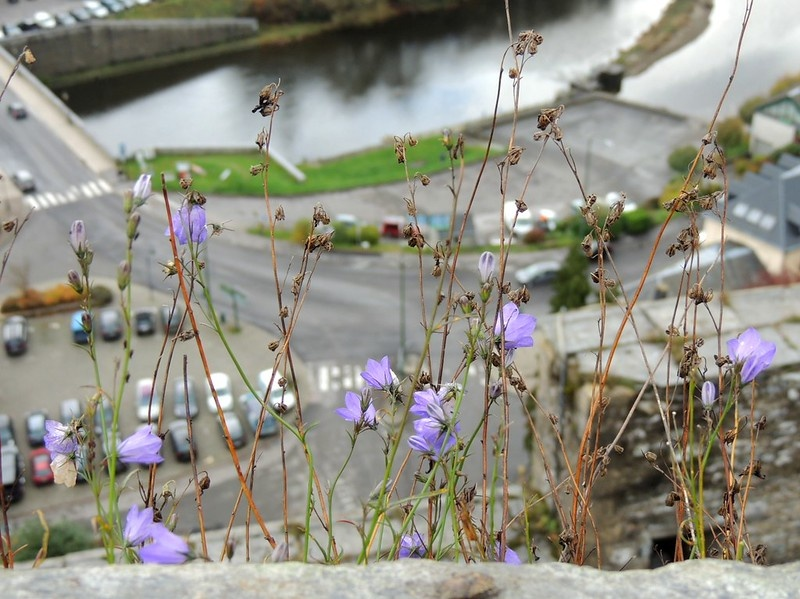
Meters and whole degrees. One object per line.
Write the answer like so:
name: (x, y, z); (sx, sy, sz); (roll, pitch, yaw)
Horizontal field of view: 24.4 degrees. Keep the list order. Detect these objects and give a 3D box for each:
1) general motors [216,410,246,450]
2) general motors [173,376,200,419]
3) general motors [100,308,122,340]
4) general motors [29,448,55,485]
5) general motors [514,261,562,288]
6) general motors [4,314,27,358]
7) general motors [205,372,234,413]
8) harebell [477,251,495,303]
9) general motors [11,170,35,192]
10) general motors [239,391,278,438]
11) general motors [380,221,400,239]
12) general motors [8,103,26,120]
general motors: (-4.701, 3.726, 53.365); (0.538, 1.183, 1.837); (-5, -6, -5)
general motors: (-6.360, 2.955, 55.124); (0.654, 0.647, 1.731); (-6, 30, -5)
general motors: (-9.040, 0.675, 57.875); (0.472, 1.247, 0.423); (-2, -40, -13)
general motors: (-10.200, 4.880, 52.965); (0.592, 1.518, 0.412); (-7, -51, -13)
general motors: (4.484, -0.770, 58.956); (1.267, 0.789, 0.495); (-10, -29, -13)
general motors: (-11.870, 1.134, 57.412); (0.821, 1.344, 0.941); (-4, -5, -14)
general motors: (-4.788, 2.524, 49.570); (0.580, 1.578, 0.497); (-7, -24, -7)
harebell: (1.763, -0.462, 36.759); (0.341, 1.031, 0.215); (-5, -4, 0)
general motors: (-13.149, -4.153, 65.110); (0.820, 1.005, 0.738); (-5, -5, -14)
general motors: (-3.675, 3.064, 48.410); (0.703, 1.818, 0.613); (-14, -34, -15)
general motors: (-0.251, -2.424, 63.444); (0.728, 0.676, 0.376); (-6, -5, -1)
general motors: (-12.962, -6.413, 63.106); (0.369, 0.852, 0.298); (-21, -37, -29)
